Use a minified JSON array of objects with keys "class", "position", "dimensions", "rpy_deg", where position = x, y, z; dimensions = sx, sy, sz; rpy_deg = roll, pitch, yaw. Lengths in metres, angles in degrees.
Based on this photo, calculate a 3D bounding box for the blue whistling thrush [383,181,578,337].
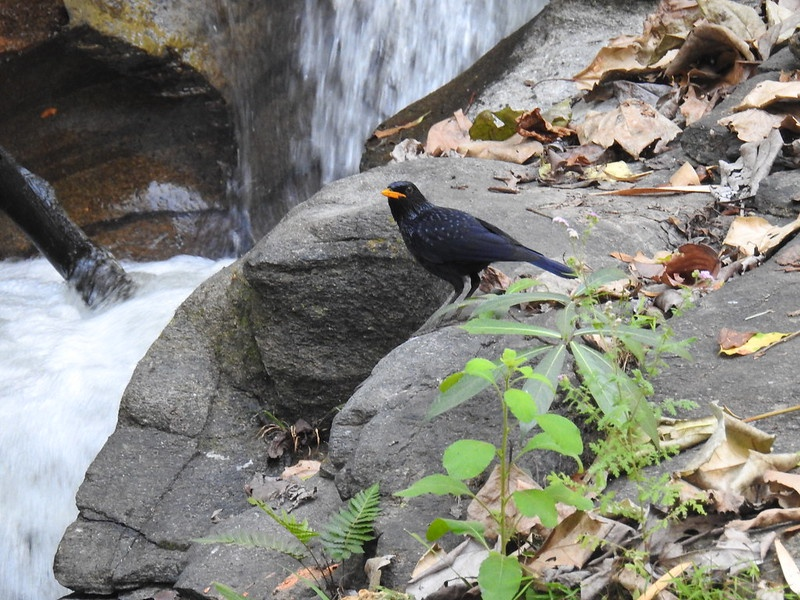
[{"class":"blue whistling thrush","position":[0.492,-0.359,8.769],"dimensions":[1.332,0.853,0.430],"rpy_deg":[11,43,33]}]
